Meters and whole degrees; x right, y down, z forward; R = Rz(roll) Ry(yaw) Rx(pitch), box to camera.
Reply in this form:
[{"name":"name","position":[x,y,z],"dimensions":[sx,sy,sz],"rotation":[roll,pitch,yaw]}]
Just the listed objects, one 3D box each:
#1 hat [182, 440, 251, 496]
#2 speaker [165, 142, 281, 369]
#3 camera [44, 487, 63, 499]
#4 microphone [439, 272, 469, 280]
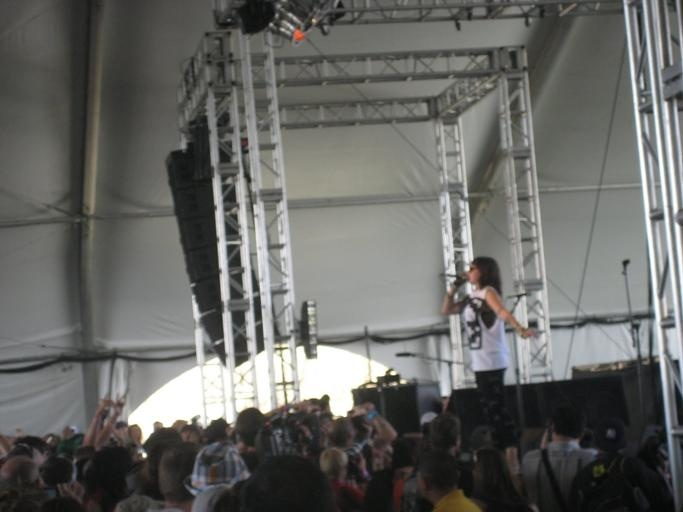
[{"name":"hat","position":[-1.722,2.687,15.875],"dimensions":[0.941,0.946,0.571],"rotation":[-1,-1,1]},{"name":"speaker","position":[-2.527,-0.081,22.257],"dimensions":[1.451,4.016,1.489],"rotation":[-9,-12,27]},{"name":"camera","position":[-4.139,3.215,16.707],"dimensions":[0.235,0.227,0.063],"rotation":[2,-27,-21]},{"name":"microphone","position":[1.601,0.266,17.671],"dimensions":[0.415,0.153,0.246],"rotation":[-1,-1,6]}]
